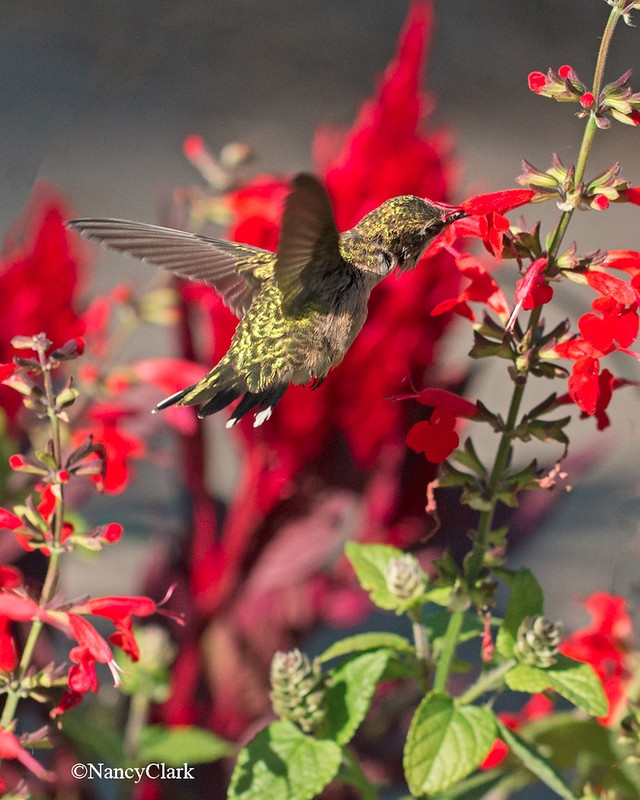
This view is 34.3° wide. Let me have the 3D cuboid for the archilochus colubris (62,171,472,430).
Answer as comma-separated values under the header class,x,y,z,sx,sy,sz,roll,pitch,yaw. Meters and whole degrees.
class,x,y,z,sx,sy,sz,roll,pitch,yaw
archilochus colubris,-0.079,-0.073,0.935,0.360,0.155,0.271,-2,27,16
